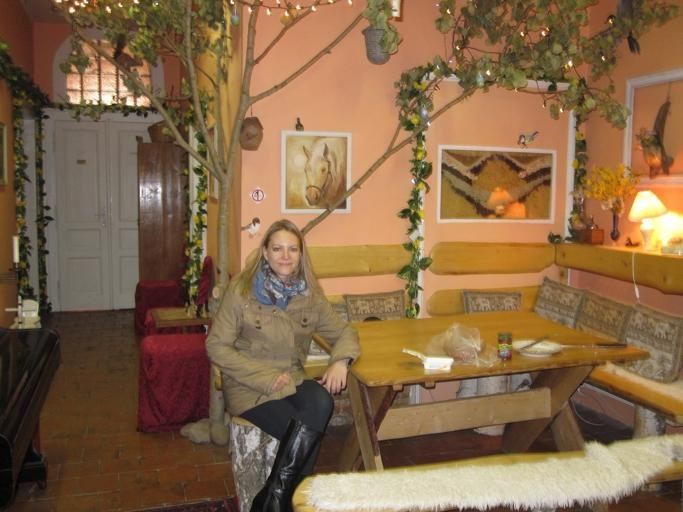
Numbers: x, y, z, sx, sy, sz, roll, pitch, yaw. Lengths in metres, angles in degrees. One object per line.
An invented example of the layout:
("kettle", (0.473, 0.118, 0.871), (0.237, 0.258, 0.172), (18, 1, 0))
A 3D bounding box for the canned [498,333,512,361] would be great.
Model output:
("canned", (0.953, 0.519, 3.006), (0.077, 0.143, 0.143), (4, 8, 18))

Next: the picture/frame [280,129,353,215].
("picture/frame", (-0.247, -0.735, 4.479), (0.734, 0.901, 0.055), (0, 2, -21))

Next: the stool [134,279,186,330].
("stool", (-2.413, 0.677, 6.864), (0.634, 0.586, 0.642), (-1, 2, -22))

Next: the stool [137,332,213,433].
("stool", (-1.372, 1.024, 4.184), (0.650, 0.712, 0.306), (-2, -4, -11))
